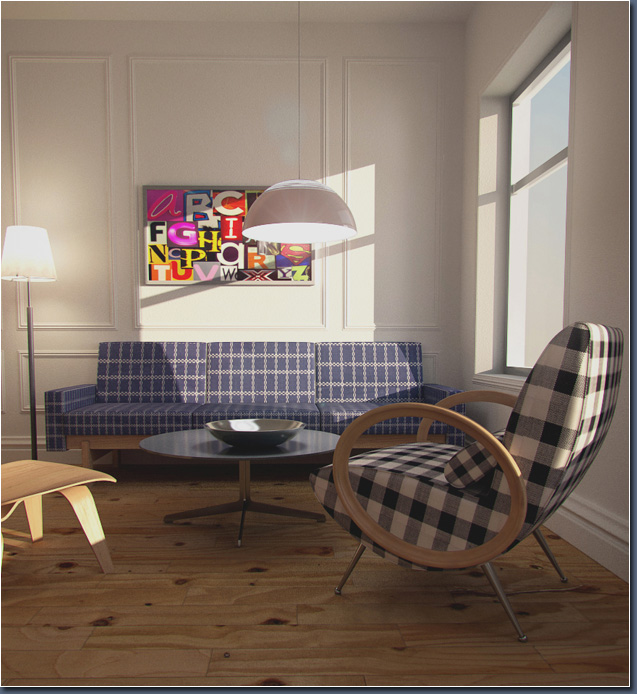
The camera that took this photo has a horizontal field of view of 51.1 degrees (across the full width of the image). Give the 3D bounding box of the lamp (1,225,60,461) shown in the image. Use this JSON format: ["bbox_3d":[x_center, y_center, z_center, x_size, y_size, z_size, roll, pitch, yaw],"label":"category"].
[{"bbox_3d":[-1.685,-0.026,3.967,0.276,1.399,0.598,-3,9,-20],"label":"lamp"}]

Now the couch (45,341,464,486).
[{"bbox_3d":[-0.360,0.332,3.941,2.251,0.621,0.671,0,10,0],"label":"couch"}]

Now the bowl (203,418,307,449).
[{"bbox_3d":[-0.259,0.347,2.801,0.389,0.100,0.429,1,7,1],"label":"bowl"}]

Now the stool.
[{"bbox_3d":[-0.974,0.576,2.503,0.485,0.297,0.434,0,-4,-14],"label":"stool"}]

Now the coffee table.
[{"bbox_3d":[-0.316,0.512,2.734,0.630,0.237,0.578,2,-3,-18],"label":"coffee table"}]

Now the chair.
[{"bbox_3d":[0.512,0.353,2.267,0.973,0.759,0.752,-1,1,40],"label":"chair"}]
